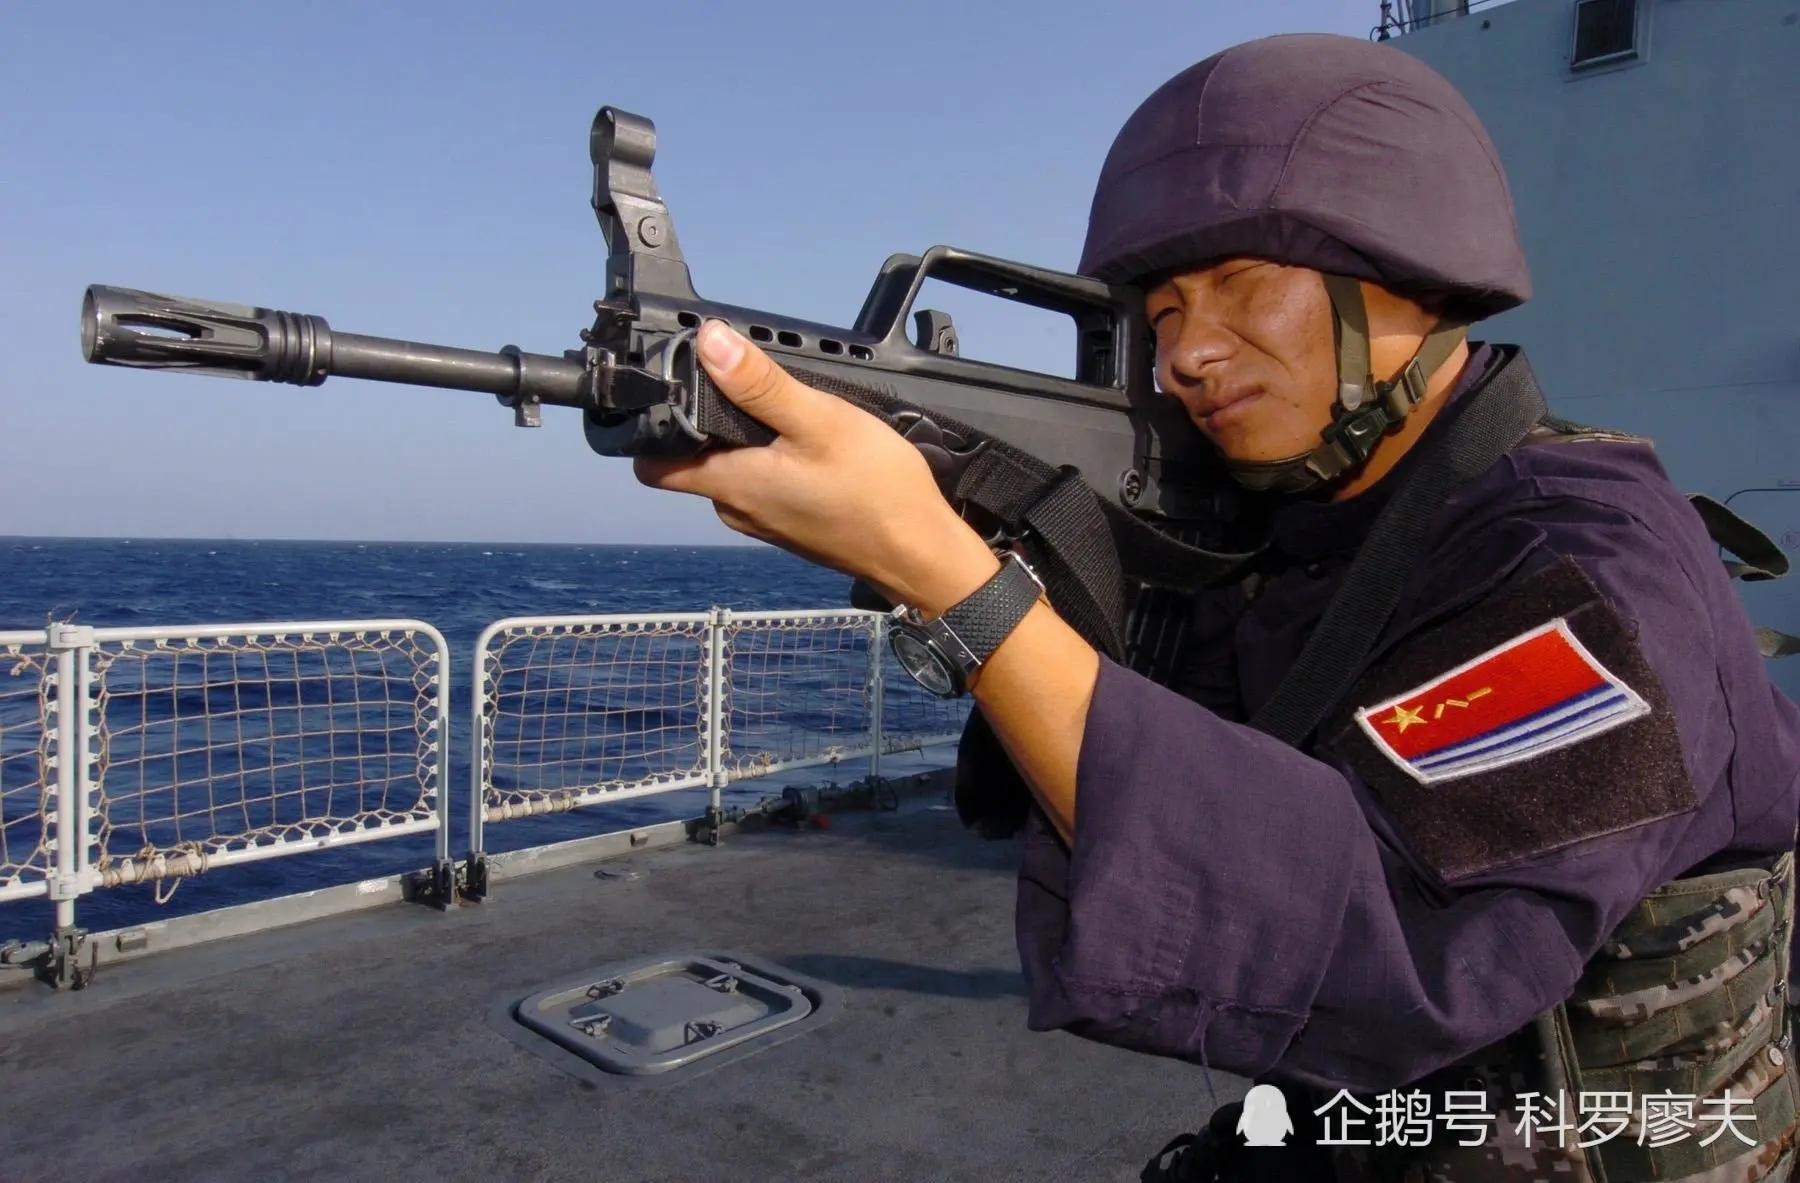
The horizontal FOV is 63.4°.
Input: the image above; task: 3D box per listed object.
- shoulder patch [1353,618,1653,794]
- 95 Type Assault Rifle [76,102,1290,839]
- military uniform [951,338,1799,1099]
[{"bbox_3d":[1.150,0.220,2.809,0.471,0.316,0.339,-3,1,34],"label":"shoulder patch"},{"bbox_3d":[0.475,-0.450,4.705,5.107,1.822,0.970,0,4,-41],"label":"95 Type Assault Rifle"},{"bbox_3d":[1.216,0.510,3.354,1.750,1.800,1.225,-2,-7,31],"label":"military uniform"}]
